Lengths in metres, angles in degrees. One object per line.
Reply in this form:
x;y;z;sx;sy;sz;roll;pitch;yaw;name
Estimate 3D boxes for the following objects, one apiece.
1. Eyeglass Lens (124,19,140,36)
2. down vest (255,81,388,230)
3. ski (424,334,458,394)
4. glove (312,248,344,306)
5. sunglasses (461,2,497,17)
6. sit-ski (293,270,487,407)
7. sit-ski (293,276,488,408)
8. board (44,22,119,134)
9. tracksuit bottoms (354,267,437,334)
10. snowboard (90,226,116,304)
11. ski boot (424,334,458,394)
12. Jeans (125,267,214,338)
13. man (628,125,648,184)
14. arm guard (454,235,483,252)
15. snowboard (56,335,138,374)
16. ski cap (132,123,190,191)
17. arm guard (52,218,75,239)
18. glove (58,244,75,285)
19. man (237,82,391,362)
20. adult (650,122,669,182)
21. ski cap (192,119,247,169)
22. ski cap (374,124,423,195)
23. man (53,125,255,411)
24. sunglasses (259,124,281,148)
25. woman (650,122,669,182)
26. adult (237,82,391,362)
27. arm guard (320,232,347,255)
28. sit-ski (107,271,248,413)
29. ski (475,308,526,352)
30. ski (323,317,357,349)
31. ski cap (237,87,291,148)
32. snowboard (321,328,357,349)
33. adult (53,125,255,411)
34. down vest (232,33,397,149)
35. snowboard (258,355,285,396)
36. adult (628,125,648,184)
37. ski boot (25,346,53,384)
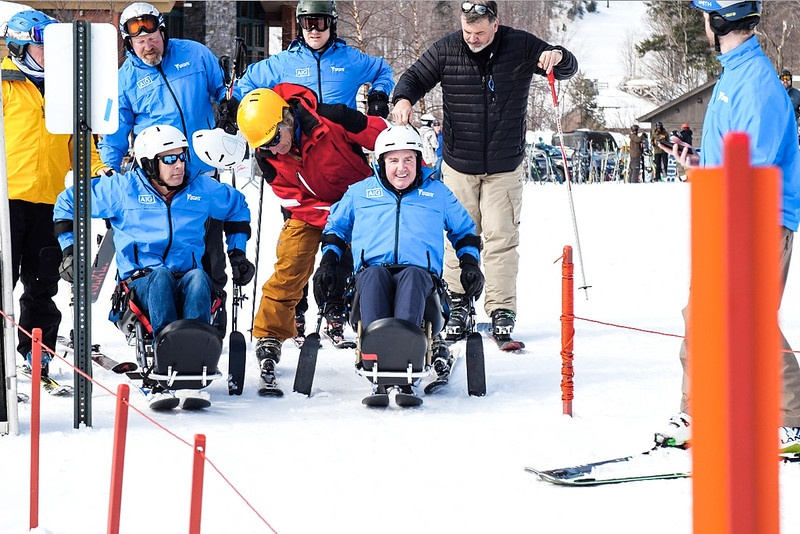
-2.175;-1.986;8.894;0.111;0.137;0.077;-6;46;-9;Eyeglass Lens
-0.611;-0.909;8.673;1.047;0.644;1.245;-13;-41;27;down vest
0.290;0.690;8.307;0.156;0.205;0.529;-6;23;15;ski
-0.562;0.081;8.277;0.163;0.533;0.129;31;-40;-20;glove
0.665;-2.101;8.869;0.363;0.104;0.128;-1;3;-27;sunglasses
0.037;0.484;8.200;1.350;0.625;1.805;2;14;7;sit-ski
0.046;0.525;8.064;0.886;0.471;1.217;1;13;2;sit-ski
-2.120;-1.256;7.254;0.521;0.737;0.031;-7;16;-36;board
-0.065;0.211;7.806;0.555;0.434;0.452;1;3;11;tracksuit bottoms
-2.751;0.019;10.073;0.213;0.913;0.052;-1;39;-35;snowboard
0.291;0.694;8.304;0.156;0.205;0.529;-6;23;15;ski boot
-1.739;0.153;8.141;0.754;0.351;0.930;1;11;-9;Jeans
5.289;-2.545;24.181;0.353;1.318;1.717;1;3;12;man
0.543;-0.184;8.473;0.129;0.081;0.164;-2;9;-2;arm guard
-2.371;0.700;8.474;0.196;0.084;1.678;-6;11;-28;snowboard
-1.776;-0.848;8.200;0.459;0.498;0.399;2;8;27;ski cap
-2.466;-0.281;7.959;0.172;0.144;0.129;5;-5;-19;arm guard
-2.437;-0.013;7.912;0.087;0.276;0.358;0;3;-19;glove
-0.769;-0.421;9.056;1.484;2.203;1.143;-15;15;-19;man
6.031;-2.683;25.026;0.451;1.291;0.414;-6;-4;40;adult
-1.461;-0.982;9.076;0.304;0.355;0.402;1;6;22;ski cap
0.000;-0.812;8.144;0.389;0.467;0.503;-4;8;-3;ski cap
-1.695;-0.032;7.942;1.463;1.953;1.268;-2;7;-23;man
-1.005;-1.014;8.492;0.123;0.152;0.079;-4;-38;24;sunglasses
5.992;-2.667;24.948;0.418;1.310;0.455;0;0;-31;woman
-0.784;-0.439;9.067;1.490;2.173;1.116;-16;17;-20;adult
-0.511;-0.186;8.382;0.153;0.178;0.094;4;21;-2;arm guard
-1.625;0.477;7.934;0.760;0.448;1.075;2;30;-17;sit-ski
0.913;0.469;9.559;0.236;0.287;0.961;0;13;-3;ski
-0.509;0.590;9.339;0.167;0.217;0.462;-3;2;-23;ski
-1.058;-1.143;8.480;0.347;0.436;0.352;15;-6;27;ski cap
-0.534;0.629;9.521;0.143;0.170;0.401;0;4;-45;snowboard
-1.643;-0.015;7.960;1.483;1.950;1.295;-4;9;-30;adult
-0.703;-1.700;9.350;1.673;1.164;0.673;-7;38;-3;down vest
-0.974;0.830;8.216;0.186;0.259;0.337;0;3;-7;snowboard
5.329;-2.510;24.296;0.415;1.371;0.453;-3;15;2;adult
-2.774;0.735;8.308;0.172;0.232;0.509;1;-2;-26;ski boot
